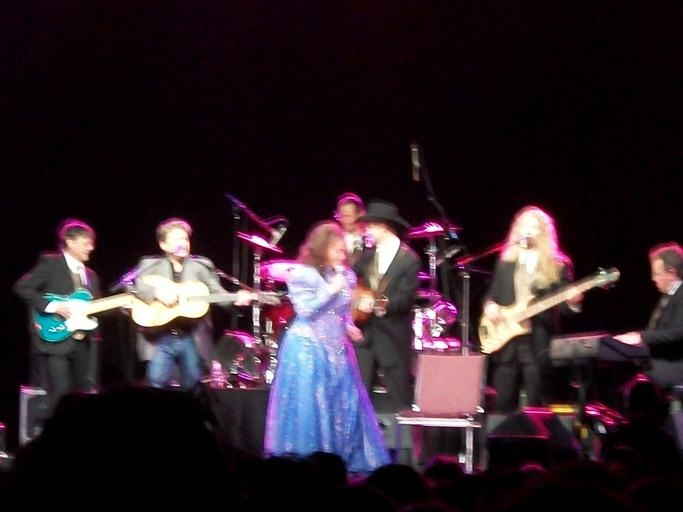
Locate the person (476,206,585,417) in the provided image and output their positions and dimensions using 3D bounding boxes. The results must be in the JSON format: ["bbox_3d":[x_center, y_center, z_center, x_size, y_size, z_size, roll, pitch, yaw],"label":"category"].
[{"bbox_3d":[1.574,0.604,5.433,0.597,2.006,0.724,-29,36,-36],"label":"person"}]

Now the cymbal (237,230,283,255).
[{"bbox_3d":[-0.820,-0.138,6.288,0.286,0.076,0.293,19,-4,18],"label":"cymbal"}]

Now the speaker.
[{"bbox_3d":[0.853,0.970,5.092,0.585,0.502,0.573,-1,-18,8],"label":"speaker"}]

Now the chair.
[{"bbox_3d":[0.747,1.174,4.687,0.729,0.862,0.733,-1,-11,11],"label":"chair"}]
